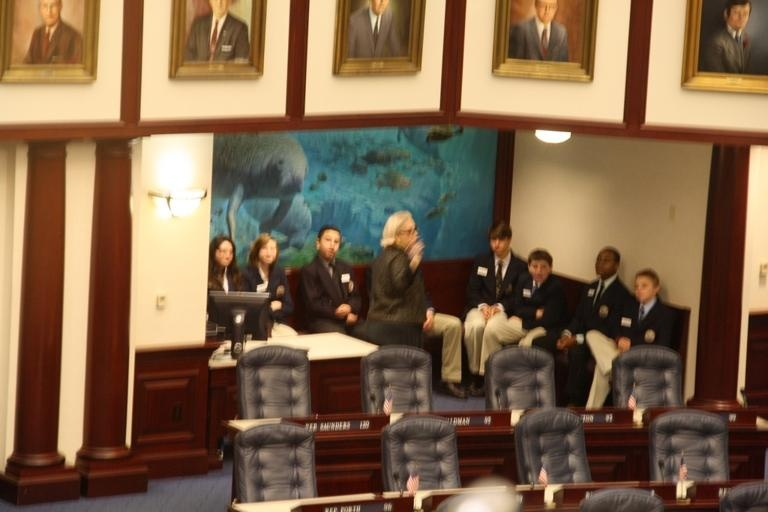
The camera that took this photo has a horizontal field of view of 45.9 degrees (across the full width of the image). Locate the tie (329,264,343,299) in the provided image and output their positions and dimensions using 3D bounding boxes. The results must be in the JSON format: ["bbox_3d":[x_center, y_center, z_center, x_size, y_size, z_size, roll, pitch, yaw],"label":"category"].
[{"bbox_3d":[-0.692,0.335,12.196,0.083,0.400,0.255,-17,-8,23],"label":"tie"}]

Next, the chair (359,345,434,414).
[{"bbox_3d":[0.121,1.300,9.478,0.557,0.983,0.723,3,-9,-17],"label":"chair"}]

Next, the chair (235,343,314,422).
[{"bbox_3d":[-1.186,1.329,9.495,0.576,1.008,0.747,1,-7,-13],"label":"chair"}]

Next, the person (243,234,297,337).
[{"bbox_3d":[-1.485,0.744,11.535,0.656,1.953,0.719,-2,-1,-12],"label":"person"}]

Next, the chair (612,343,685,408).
[{"bbox_3d":[2.887,1.323,10.160,0.545,0.951,0.707,1,-3,-1],"label":"chair"}]

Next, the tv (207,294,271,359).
[{"bbox_3d":[-1.646,0.792,10.223,0.541,0.666,0.312,1,12,-3],"label":"tv"}]

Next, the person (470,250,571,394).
[{"bbox_3d":[1.950,0.818,12.394,0.896,1.848,1.232,20,23,34],"label":"person"}]

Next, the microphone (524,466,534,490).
[{"bbox_3d":[1.337,1.975,8.215,0.096,0.147,0.086,-6,7,-39],"label":"microphone"}]

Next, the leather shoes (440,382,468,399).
[{"bbox_3d":[0.951,1.838,12.594,0.418,0.222,0.164,2,6,27],"label":"leather shoes"}]

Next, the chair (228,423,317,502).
[{"bbox_3d":[-0.993,1.790,8.049,0.557,0.983,0.672,2,-11,-15],"label":"chair"}]

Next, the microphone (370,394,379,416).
[{"bbox_3d":[-0.095,1.524,9.247,0.090,0.157,0.248,-2,6,-4],"label":"microphone"}]

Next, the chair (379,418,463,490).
[{"bbox_3d":[0.288,1.784,8.408,0.535,0.934,0.653,1,-8,-13],"label":"chair"}]

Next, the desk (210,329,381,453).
[{"bbox_3d":[-1.212,2.083,11.018,1.975,1.576,1.152,-4,10,-22],"label":"desk"}]

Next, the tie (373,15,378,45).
[{"bbox_3d":[-0.085,-2.436,9.837,0.075,0.273,0.036,0,5,12],"label":"tie"}]

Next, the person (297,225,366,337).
[{"bbox_3d":[-0.707,0.328,12.067,0.802,1.432,0.491,-3,6,-15],"label":"person"}]

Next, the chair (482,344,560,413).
[{"bbox_3d":[1.425,1.324,9.804,0.548,0.962,0.683,1,-7,-7],"label":"chair"}]

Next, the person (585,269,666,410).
[{"bbox_3d":[3.057,1.128,11.478,0.948,1.859,0.735,-5,20,-22],"label":"person"}]

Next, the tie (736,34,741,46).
[{"bbox_3d":[3.779,-2.303,9.664,0.060,0.105,0.027,1,-3,2],"label":"tie"}]

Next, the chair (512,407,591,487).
[{"bbox_3d":[1.522,1.797,8.677,0.579,1.013,0.682,-1,-7,-20],"label":"chair"}]

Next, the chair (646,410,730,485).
[{"bbox_3d":[2.896,1.801,8.626,0.529,0.929,0.723,0,-9,-1],"label":"chair"}]

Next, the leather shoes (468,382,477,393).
[{"bbox_3d":[1.225,1.820,12.479,0.100,0.162,0.056,4,-2,36],"label":"leather shoes"}]
